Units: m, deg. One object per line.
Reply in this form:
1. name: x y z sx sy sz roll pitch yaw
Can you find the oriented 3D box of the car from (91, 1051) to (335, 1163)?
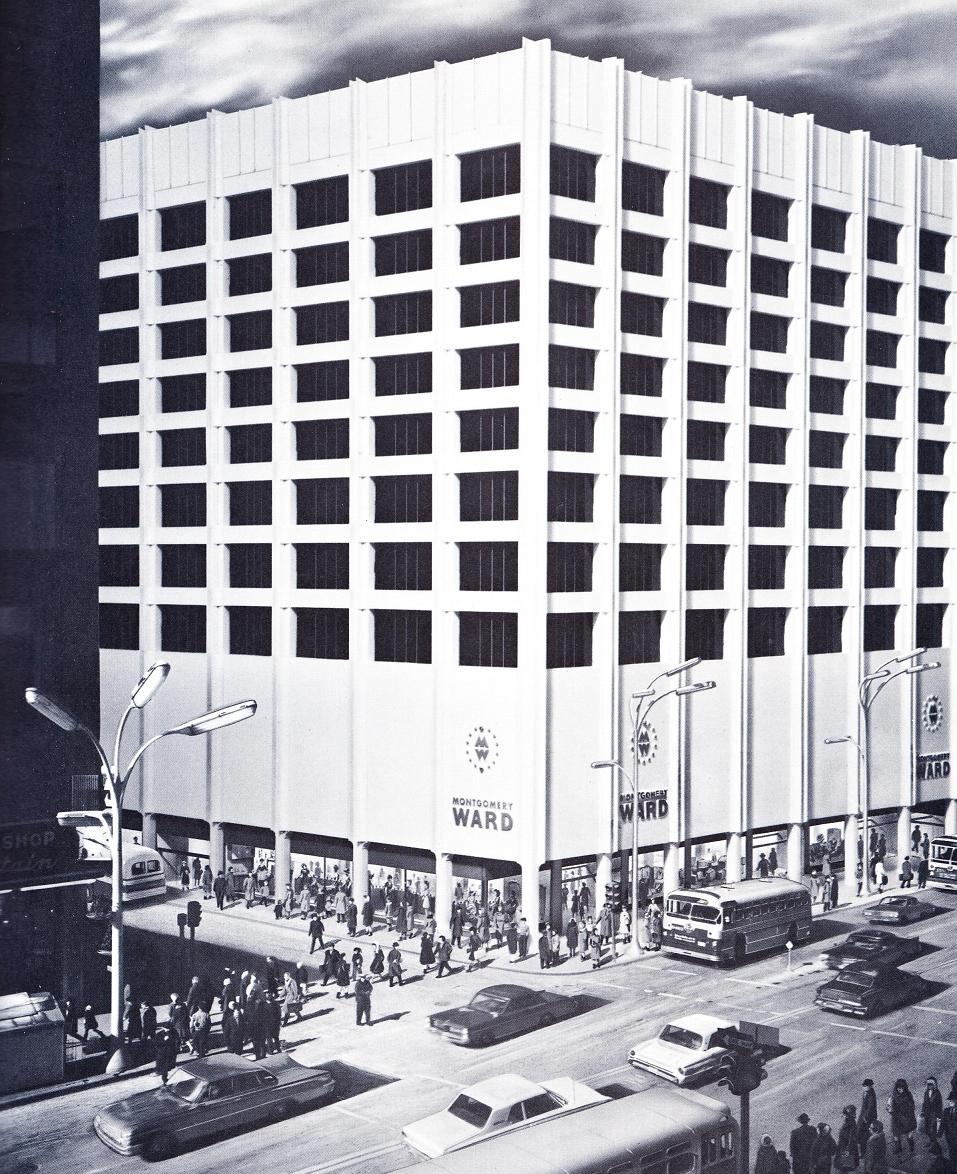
1. car: -6.449 12.578 40.983 5.576 2.166 1.413 9 -11 -35
